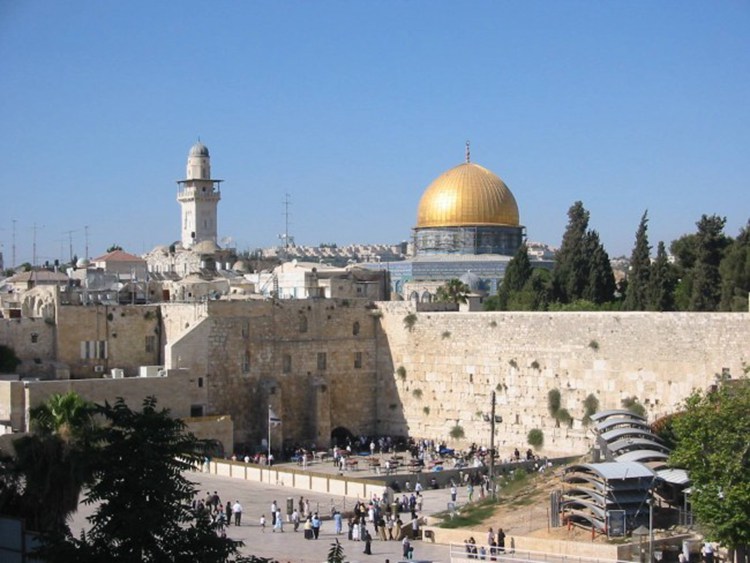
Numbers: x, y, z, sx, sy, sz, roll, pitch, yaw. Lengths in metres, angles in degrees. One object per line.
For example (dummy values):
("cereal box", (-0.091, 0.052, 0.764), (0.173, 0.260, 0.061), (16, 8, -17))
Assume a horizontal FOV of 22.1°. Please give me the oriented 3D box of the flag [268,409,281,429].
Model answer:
("flag", (-4.838, 6.501, 92.522), (0.139, 1.122, 0.910), (-7, -7, 26))
